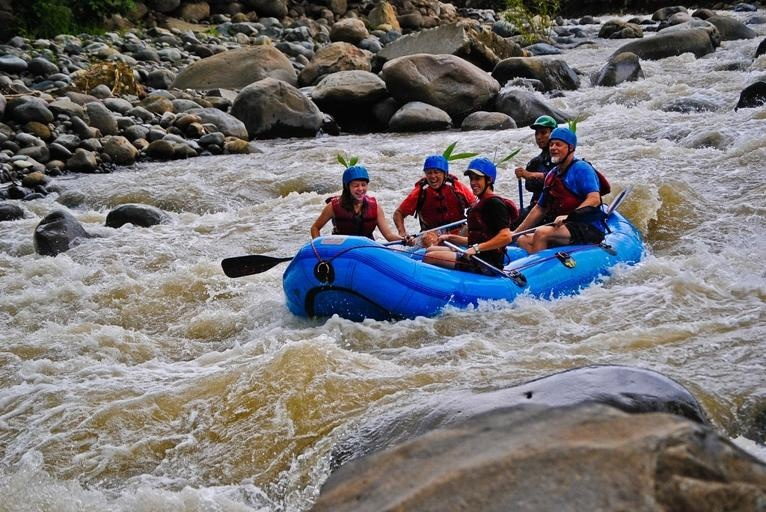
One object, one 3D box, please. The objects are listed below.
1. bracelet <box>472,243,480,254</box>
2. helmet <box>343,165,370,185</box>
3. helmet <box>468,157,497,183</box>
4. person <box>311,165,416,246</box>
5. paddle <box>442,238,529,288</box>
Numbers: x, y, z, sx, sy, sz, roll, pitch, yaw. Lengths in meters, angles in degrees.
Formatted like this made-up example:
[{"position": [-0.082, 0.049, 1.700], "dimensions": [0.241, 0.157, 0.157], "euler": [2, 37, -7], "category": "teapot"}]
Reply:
[{"position": [1.216, -0.093, 11.280], "dimensions": [0.088, 0.125, 0.121], "euler": [1, -4, 6], "category": "bracelet"}, {"position": [-0.367, -1.121, 11.703], "dimensions": [0.317, 0.263, 0.260], "euler": [-3, 28, 5], "category": "helmet"}, {"position": [1.357, -1.172, 11.425], "dimensions": [0.428, 0.221, 0.297], "euler": [18, -5, -26], "category": "helmet"}, {"position": [-0.292, -0.737, 13.192], "dimensions": [1.011, 1.427, 0.886], "euler": [-21, 49, -27], "category": "person"}, {"position": [1.298, 0.108, 11.384], "dimensions": [1.262, 0.169, 0.095], "euler": [25, 30, -2], "category": "paddle"}]
